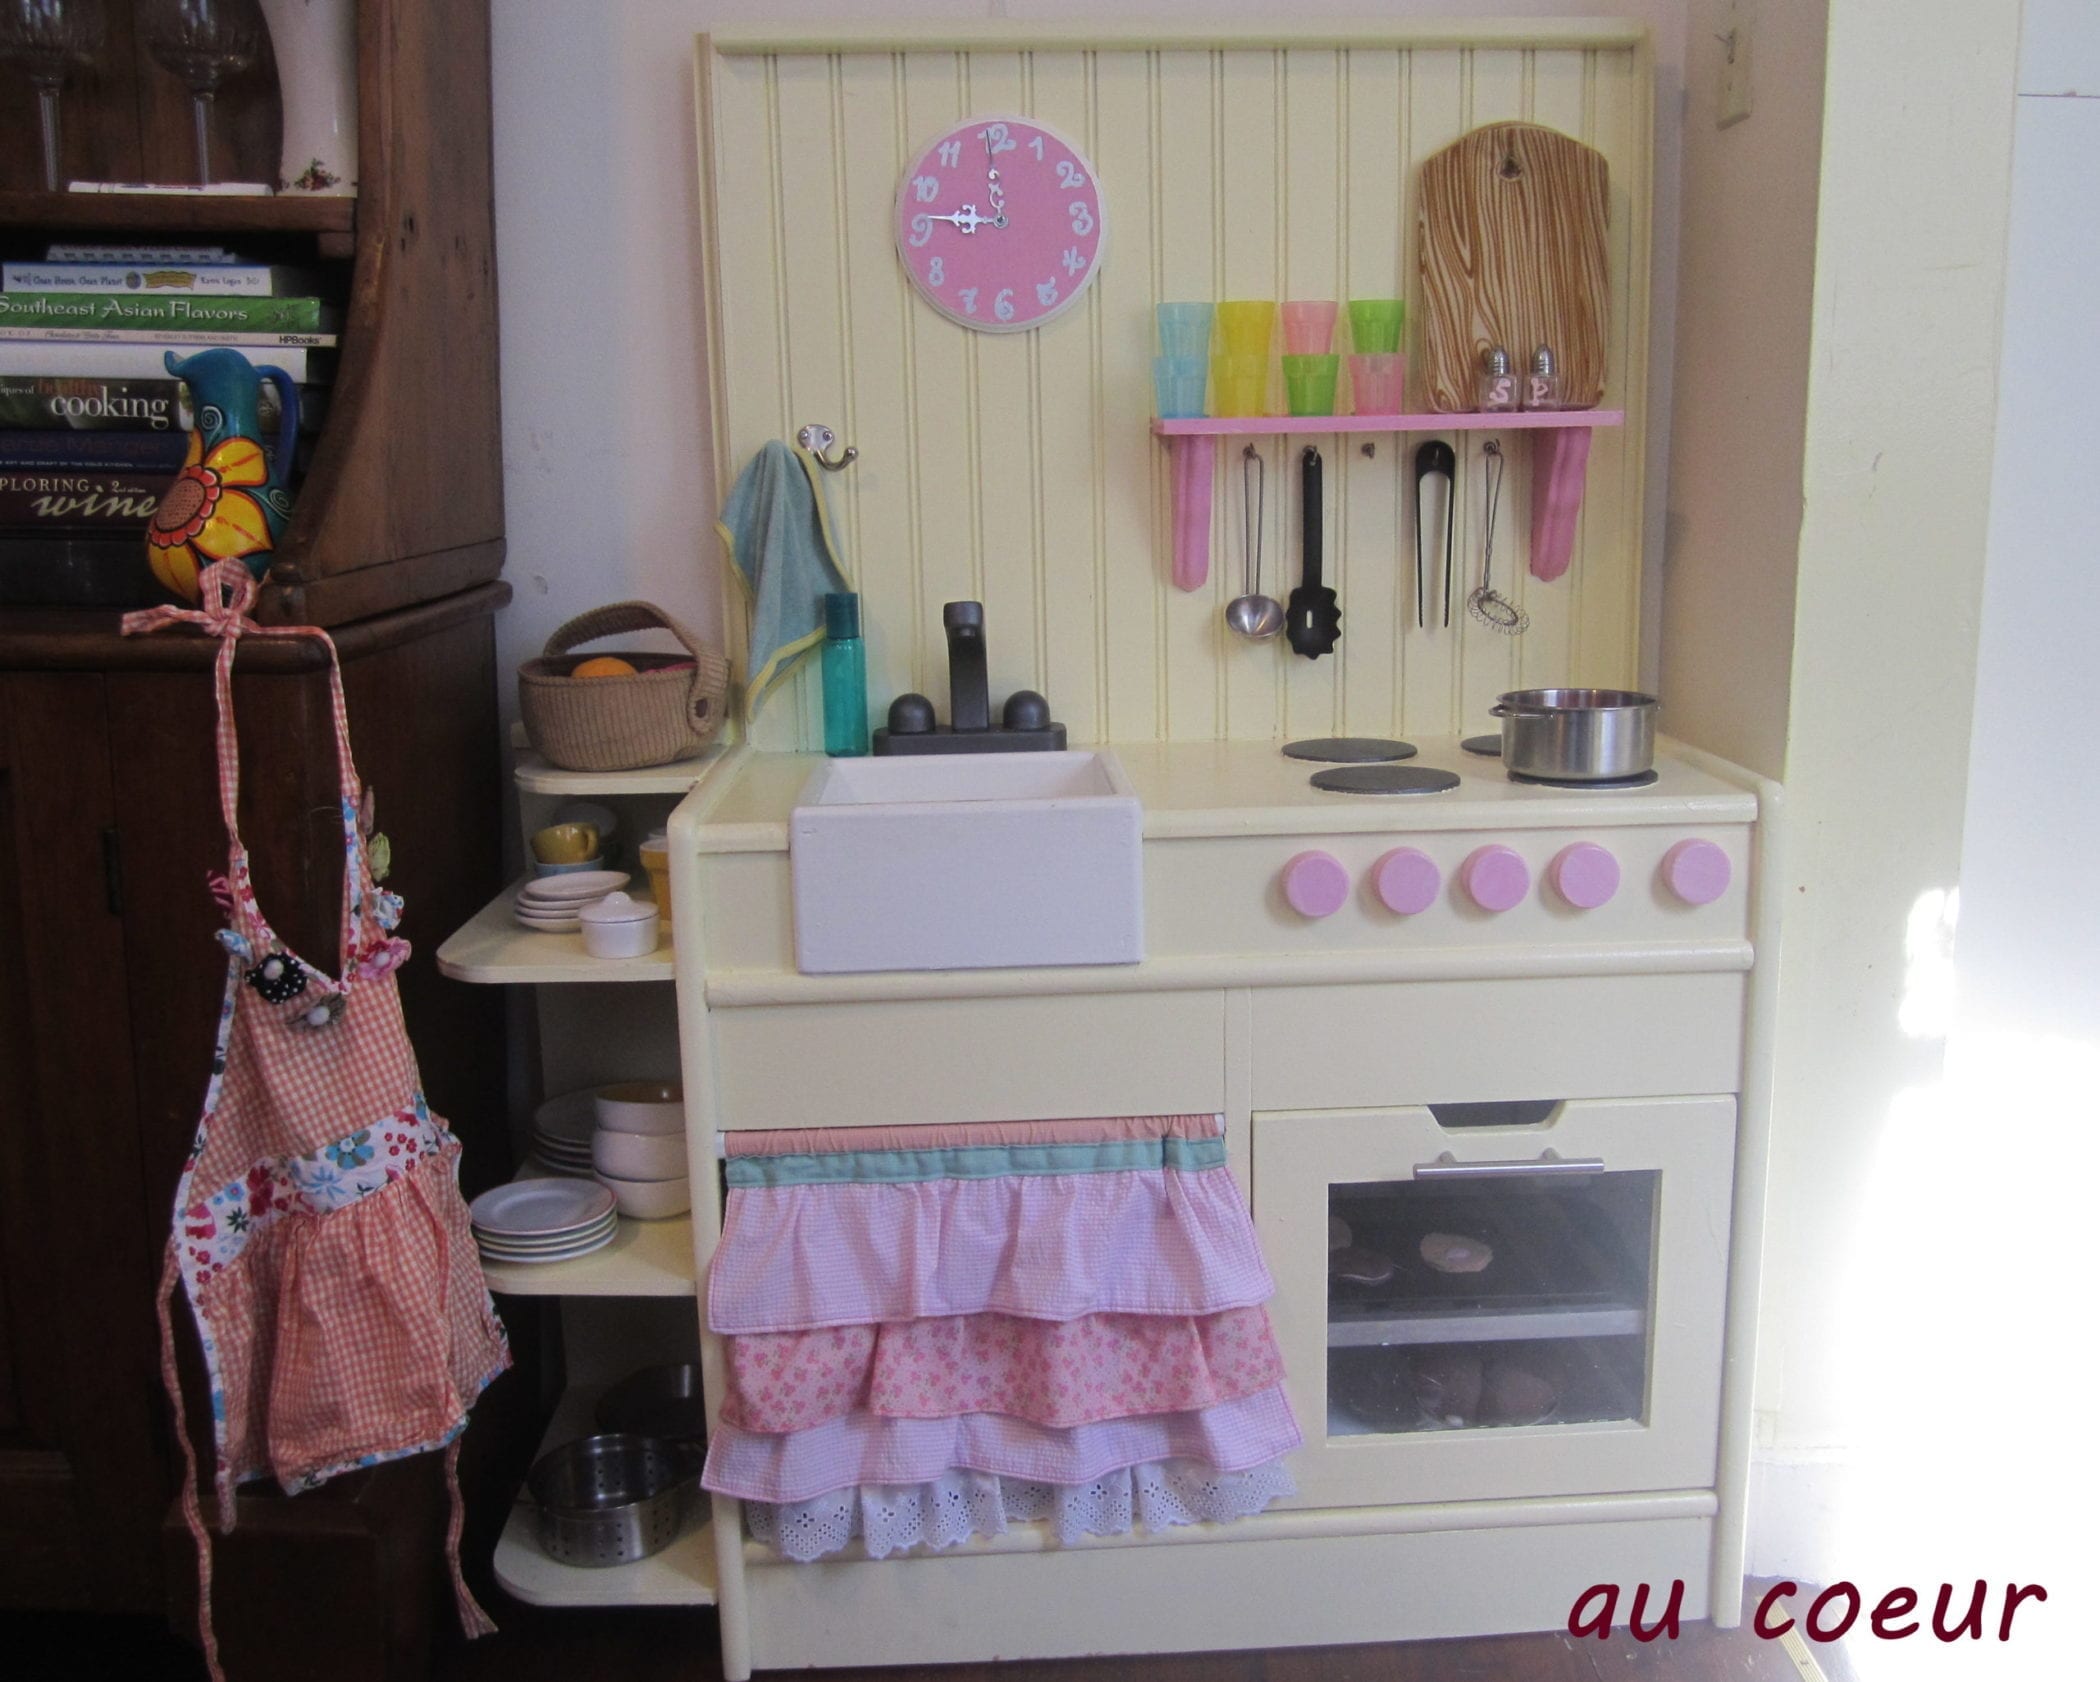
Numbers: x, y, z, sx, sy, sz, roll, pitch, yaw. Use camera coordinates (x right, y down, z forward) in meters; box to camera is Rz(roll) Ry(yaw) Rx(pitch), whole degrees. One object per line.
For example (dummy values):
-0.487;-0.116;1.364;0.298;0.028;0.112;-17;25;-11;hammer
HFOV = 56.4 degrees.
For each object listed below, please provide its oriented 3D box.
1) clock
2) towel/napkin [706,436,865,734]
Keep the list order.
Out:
-0.076;-0.828;2.590;0.264;0.309;0.031;-4;51;-8;clock
-0.345;-0.318;2.682;0.183;0.497;0.086;0;39;-3;towel/napkin
